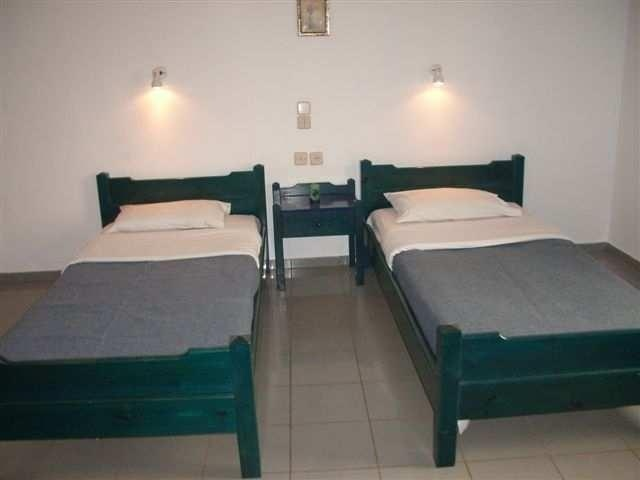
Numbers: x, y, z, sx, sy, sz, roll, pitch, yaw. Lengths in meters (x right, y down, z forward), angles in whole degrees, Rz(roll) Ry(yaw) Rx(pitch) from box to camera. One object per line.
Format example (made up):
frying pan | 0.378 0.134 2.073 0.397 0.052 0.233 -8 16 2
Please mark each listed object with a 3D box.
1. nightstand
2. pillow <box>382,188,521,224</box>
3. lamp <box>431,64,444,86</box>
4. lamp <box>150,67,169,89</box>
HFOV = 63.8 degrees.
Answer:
nightstand | -0.022 -0.045 5.070 0.852 0.898 0.661 -3 15 0
pillow | 1.155 -0.309 4.520 0.755 0.164 0.487 -1 28 -5
lamp | 1.112 -1.558 4.825 0.143 0.191 0.152 -1 5 -3
lamp | -1.474 -1.482 4.691 0.148 0.182 0.130 -2 5 -11
